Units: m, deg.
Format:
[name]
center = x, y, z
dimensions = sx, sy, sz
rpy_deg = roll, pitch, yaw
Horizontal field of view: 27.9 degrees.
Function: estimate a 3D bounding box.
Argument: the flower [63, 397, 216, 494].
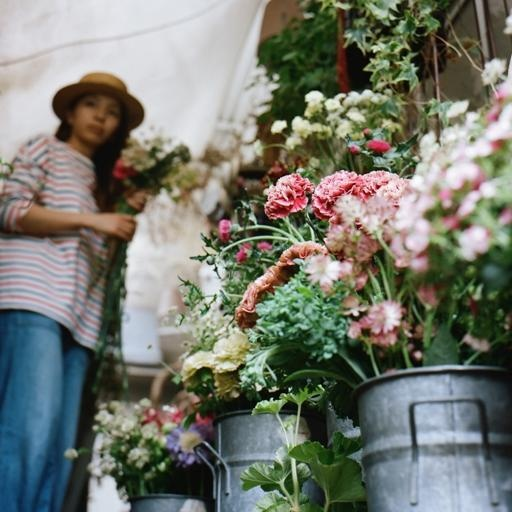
[flower]
center = -0.291, 0.489, 2.693
dimensions = 0.291, 0.322, 0.295
rpy_deg = 8, -35, -6
